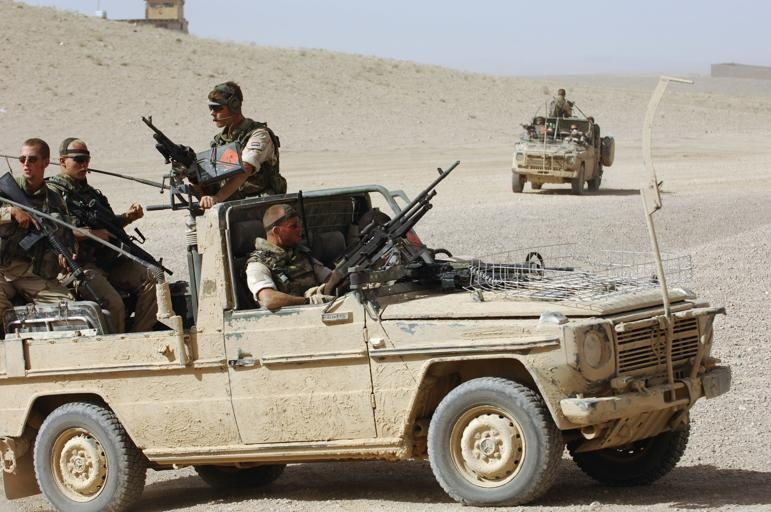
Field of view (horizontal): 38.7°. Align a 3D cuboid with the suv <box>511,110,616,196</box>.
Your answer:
[{"bbox_3d":[4.852,-2.802,30.416,2.268,1.850,4.018,7,10,21],"label":"suv"}]

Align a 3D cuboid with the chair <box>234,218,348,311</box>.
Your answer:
[{"bbox_3d":[-1.058,0.012,11.111,0.982,1.063,0.876,0,14,24],"label":"chair"}]

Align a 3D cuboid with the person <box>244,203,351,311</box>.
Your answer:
[{"bbox_3d":[-0.917,0.093,11.046,1.074,1.214,0.960,8,17,39],"label":"person"}]

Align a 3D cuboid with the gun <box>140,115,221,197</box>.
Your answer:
[{"bbox_3d":[-2.315,-1.138,12.162,0.147,0.335,1.114,34,-9,45],"label":"gun"}]

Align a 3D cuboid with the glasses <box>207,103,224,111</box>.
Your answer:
[{"bbox_3d":[-1.956,-1.702,12.519,0.207,0.095,0.109,4,7,38],"label":"glasses"}]
